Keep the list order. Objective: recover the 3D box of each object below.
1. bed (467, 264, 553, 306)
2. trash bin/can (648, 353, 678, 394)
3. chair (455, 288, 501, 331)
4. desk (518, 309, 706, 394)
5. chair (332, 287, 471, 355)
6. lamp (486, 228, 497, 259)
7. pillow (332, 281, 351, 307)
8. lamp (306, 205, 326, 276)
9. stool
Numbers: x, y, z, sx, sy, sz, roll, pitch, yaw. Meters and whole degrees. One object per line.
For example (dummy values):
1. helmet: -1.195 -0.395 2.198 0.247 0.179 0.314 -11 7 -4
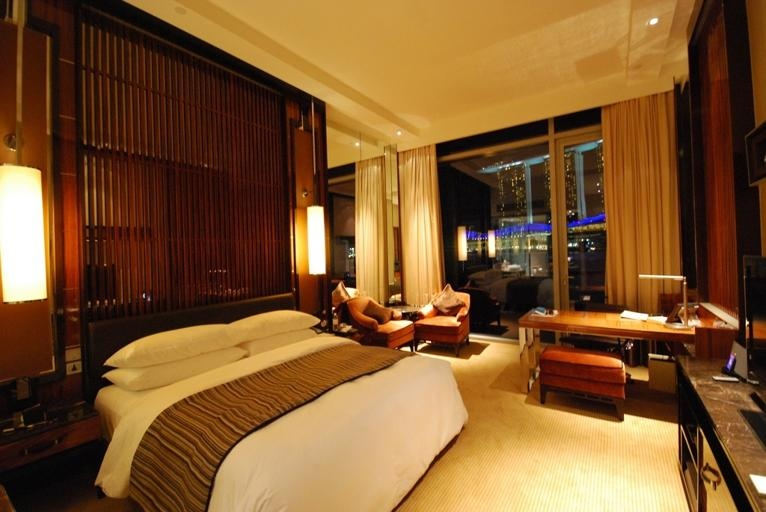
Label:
1. bed: 1.878 0.486 7.839 1.280 0.621 0.241 -5 0 37
2. trash bin/can: 3.100 1.303 5.850 0.256 0.393 0.117 -4 0 18
3. chair: 1.548 0.830 8.341 0.525 0.778 0.664 -1 -1 43
4. desk: 2.456 1.165 6.039 1.652 0.930 0.727 2 9 23
5. chair: 0.241 0.922 7.509 1.069 0.774 1.234 1 -6 -26
6. lamp: 1.647 -0.185 7.978 0.140 0.410 0.036 -4 0 21
7. pillow: -0.596 0.521 7.268 0.243 0.364 0.292 -2 -7 11
8. lamp: -0.863 -0.183 6.742 0.245 0.887 0.348 -4 0 -9
9. stool: 2.163 1.282 5.624 0.837 0.617 0.640 -1 -1 33
